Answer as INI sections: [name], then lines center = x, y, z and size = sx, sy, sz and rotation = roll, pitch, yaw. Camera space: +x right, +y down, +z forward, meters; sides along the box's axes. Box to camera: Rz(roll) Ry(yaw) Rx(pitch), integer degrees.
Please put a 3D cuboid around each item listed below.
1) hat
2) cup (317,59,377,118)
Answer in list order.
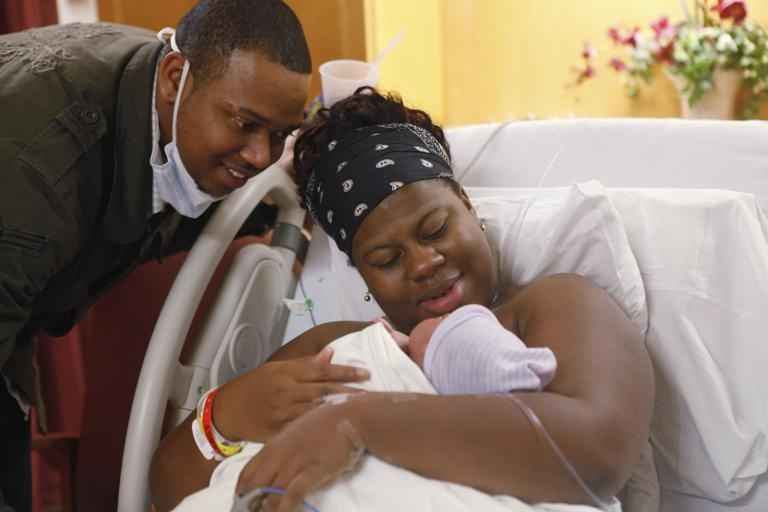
[hat]
center = 0.253, 0.172, 1.582
size = 0.271, 0.182, 0.244
rotation = 8, 17, 20
[cup]
center = -0.114, -0.538, 2.181
size = 0.136, 0.197, 0.166
rotation = 11, 20, 38
